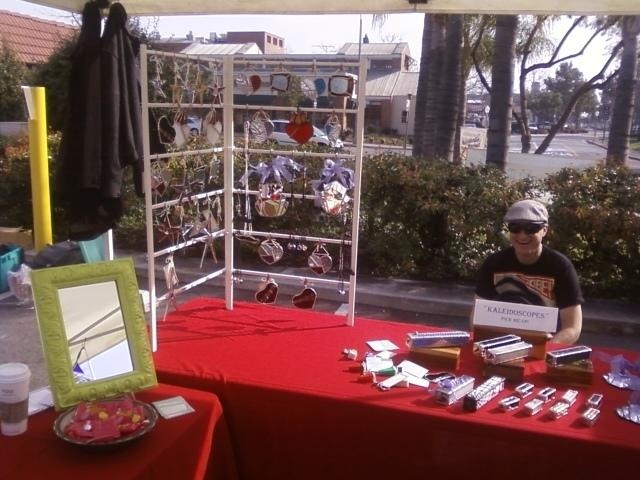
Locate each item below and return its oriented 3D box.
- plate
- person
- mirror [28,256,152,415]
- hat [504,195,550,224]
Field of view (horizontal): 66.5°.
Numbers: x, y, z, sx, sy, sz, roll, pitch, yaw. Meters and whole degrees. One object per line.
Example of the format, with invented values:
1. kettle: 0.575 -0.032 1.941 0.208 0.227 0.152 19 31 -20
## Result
1. plate: -1.008 0.862 2.304 0.253 0.084 0.262 3 7 -1
2. person: 1.470 0.256 3.488 0.720 1.033 0.555 3 9 36
3. mirror: -1.138 0.457 2.476 0.490 0.638 0.244 -8 15 -34
4. hat: 1.729 -0.273 4.149 0.437 0.241 0.624 2 1 27
